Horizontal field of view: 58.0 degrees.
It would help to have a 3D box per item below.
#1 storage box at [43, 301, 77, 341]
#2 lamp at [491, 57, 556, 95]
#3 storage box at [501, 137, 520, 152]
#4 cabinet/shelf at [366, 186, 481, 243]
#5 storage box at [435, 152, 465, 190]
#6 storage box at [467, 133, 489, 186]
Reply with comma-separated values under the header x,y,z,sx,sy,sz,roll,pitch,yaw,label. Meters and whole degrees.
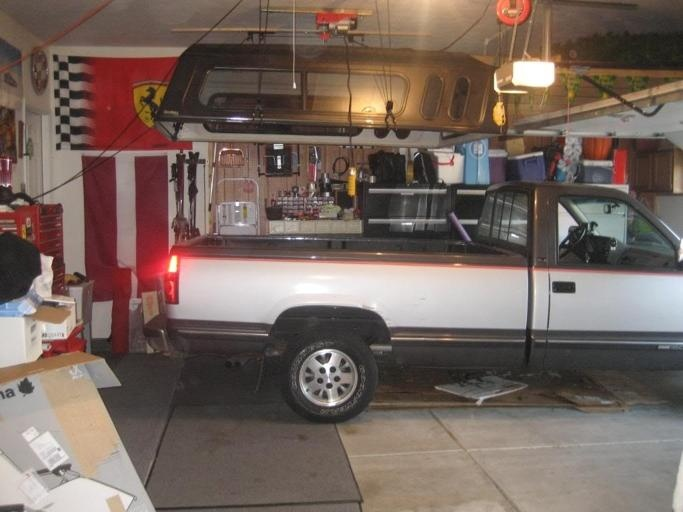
x,y,z,sx,sy,sz,roll,pitch,yaw,label
-1.911,0.453,4.249,0.322,0.203,0.315,1,0,-12,storage box
1.660,-1.569,5.381,0.363,0.233,0.486,5,9,12,lamp
2.758,-1.794,9.876,0.212,0.208,0.208,3,19,14,storage box
1.259,-0.750,9.221,1.735,1.025,0.548,-1,40,7,cabinet/shelf
1.637,-1.345,9.547,0.487,0.478,0.490,-1,7,-14,storage box
2.111,-1.555,9.511,0.435,0.780,0.463,11,37,25,storage box
